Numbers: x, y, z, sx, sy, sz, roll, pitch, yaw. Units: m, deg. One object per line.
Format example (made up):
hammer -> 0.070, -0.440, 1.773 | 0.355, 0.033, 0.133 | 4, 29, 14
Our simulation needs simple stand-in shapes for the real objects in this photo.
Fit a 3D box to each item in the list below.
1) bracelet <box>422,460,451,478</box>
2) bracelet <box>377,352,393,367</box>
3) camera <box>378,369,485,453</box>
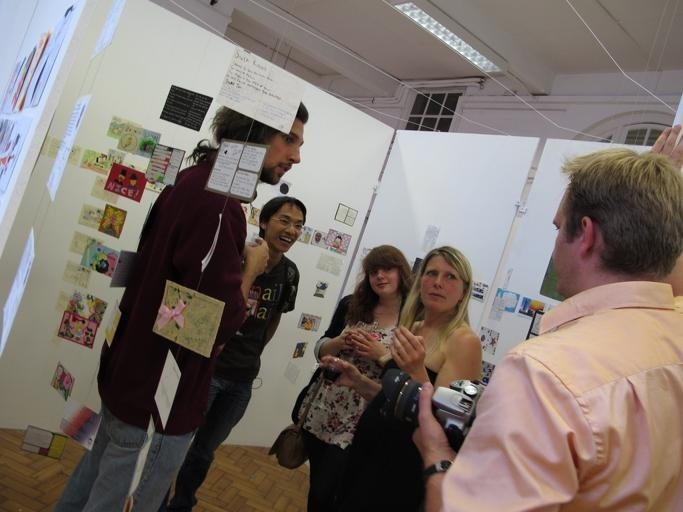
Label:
bracelet -> 0.238, 0.528, 1.046 | 0.070, 0.048, 0.069 | 7, -30, -16
bracelet -> 0.195, 0.449, 1.873 | 0.060, 0.049, 0.063 | -5, -4, 31
camera -> 0.246, 0.398, 1.174 | 0.096, 0.170, 0.245 | -10, 19, -39
